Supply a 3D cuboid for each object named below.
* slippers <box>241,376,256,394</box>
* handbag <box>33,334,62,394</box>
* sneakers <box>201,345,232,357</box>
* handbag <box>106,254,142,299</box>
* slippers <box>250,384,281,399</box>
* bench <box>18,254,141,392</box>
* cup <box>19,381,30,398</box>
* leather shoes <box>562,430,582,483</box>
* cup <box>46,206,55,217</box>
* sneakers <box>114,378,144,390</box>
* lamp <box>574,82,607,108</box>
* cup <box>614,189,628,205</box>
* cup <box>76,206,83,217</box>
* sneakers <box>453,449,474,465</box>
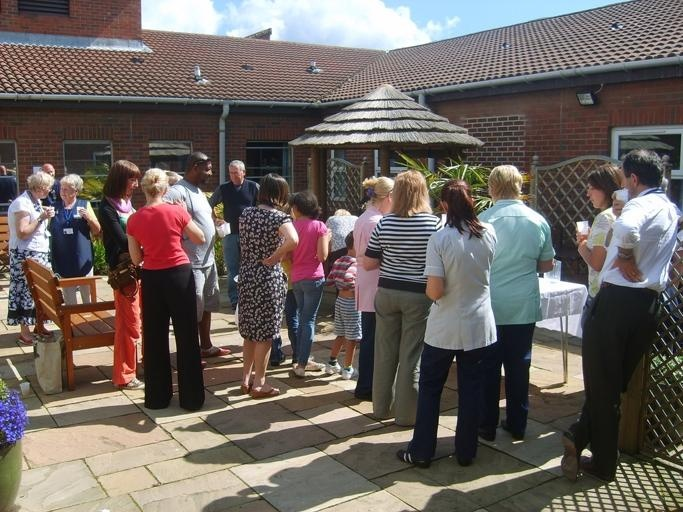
[{"bbox_3d":[-0.930,1.282,5.930,0.082,0.087,0.215,0,10,-3],"label":"slippers"},{"bbox_3d":[-2.891,1.063,5.871,0.227,0.483,0.496,-4,10,-27],"label":"handbag"},{"bbox_3d":[-1.475,1.094,6.998,0.309,0.127,0.121,-3,2,-26],"label":"sneakers"},{"bbox_3d":[-2.081,0.179,5.733,0.351,0.332,0.203,20,-4,-18],"label":"handbag"},{"bbox_3d":[-0.746,1.298,5.785,0.250,0.108,0.129,-3,5,-26],"label":"slippers"},{"bbox_3d":[-2.870,0.627,6.559,0.938,0.962,1.533,-2,9,-38],"label":"bench"},{"bbox_3d":[-3.126,1.332,5.895,0.108,0.124,0.128,1,-1,-10],"label":"cup"},{"bbox_3d":[1.695,1.484,4.379,0.142,0.377,0.129,4,-6,-36],"label":"leather shoes"},{"bbox_3d":[-3.279,-0.503,6.763,0.089,0.102,0.115,-6,9,-6],"label":"cup"},{"bbox_3d":[-2.179,1.317,6.091,0.285,0.125,0.117,0,4,-4],"label":"sneakers"},{"bbox_3d":[4.669,-3.036,11.141,0.498,0.379,0.283,8,13,36],"label":"lamp"},{"bbox_3d":[2.166,-0.462,4.610,0.114,0.127,0.116,-2,3,0],"label":"cup"},{"bbox_3d":[-2.954,-0.507,6.677,0.104,0.123,0.135,5,-1,-19],"label":"cup"},{"bbox_3d":[0.943,1.544,4.556,0.130,0.139,0.133,0,0,5],"label":"sneakers"}]
